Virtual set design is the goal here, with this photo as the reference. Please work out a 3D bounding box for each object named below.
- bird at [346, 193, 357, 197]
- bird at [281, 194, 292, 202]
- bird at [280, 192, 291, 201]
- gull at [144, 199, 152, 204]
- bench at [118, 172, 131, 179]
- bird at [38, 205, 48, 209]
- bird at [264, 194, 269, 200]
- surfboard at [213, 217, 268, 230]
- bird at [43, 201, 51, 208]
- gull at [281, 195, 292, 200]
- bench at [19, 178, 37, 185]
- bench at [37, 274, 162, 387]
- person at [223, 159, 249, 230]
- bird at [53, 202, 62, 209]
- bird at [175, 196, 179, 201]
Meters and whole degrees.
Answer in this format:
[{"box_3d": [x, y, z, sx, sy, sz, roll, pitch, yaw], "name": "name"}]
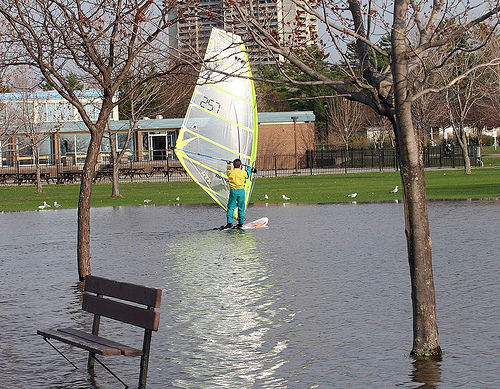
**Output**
[{"box_3d": [3.913, 0.063, 37.670, 0.409, 0.130, 0.220, 15, 45, 27], "name": "bird"}, {"box_3d": [1.481, 0.186, 39.028, 0.496, 0.329, 0.192, -12, 8, -37], "name": "bird"}, {"box_3d": [1.415, 0.179, 37.920, 0.180, 0.280, 0.416, -3, 9, 39], "name": "bird"}, {"box_3d": [-4.084, 0.320, 39.675, 0.147, 0.077, 0.195, 1, 4, 0], "name": "gull"}, {"box_3d": [-8.288, -1.193, 65.503, 0.716, 0.355, 0.092, 2, 17, 1], "name": "bench"}, {"box_3d": [-7.892, 0.493, 37.602, 0.262, 0.124, 0.373, -3, 8, -11], "name": "bird"}, {"box_3d": [0.707, 0.138, 40.403, 0.114, 0.180, 0.046, -2, -3, -17], "name": "bird"}, {"box_3d": [-0.222, 0.881, 28.546, 0.220, 0.139, 1.493, -6, 1, 45], "name": "surfboard"}, {"box_3d": [-7.878, 0.432, 38.433, 0.163, 0.202, 0.697, -3, 4, -10], "name": "bird"}, {"box_3d": [1.436, 0.167, 37.734, 0.320, 0.183, 0.123, -10, 8, -36], "name": "gull"}, {"box_3d": [-14.129, -0.780, 62.833, 1.026, 0.542, 1.665, -3, 8, -11], "name": "bench"}, {"box_3d": [-1.793, 1.860, 14.587, 1.527, 1.725, 1.544, 1, 2, 32], "name": "bench"}, {"box_3d": [-0.390, 0.020, 27.784, 0.737, 1.949, 0.440, -7, 10, -28], "name": "person"}, {"box_3d": [-7.311, 0.413, 37.239, 0.159, 0.217, 0.381, -4, -10, -3], "name": "bird"}, {"box_3d": [-2.992, 0.217, 40.985, 0.250, 0.165, 0.079, 8, 6, 41], "name": "bird"}]
